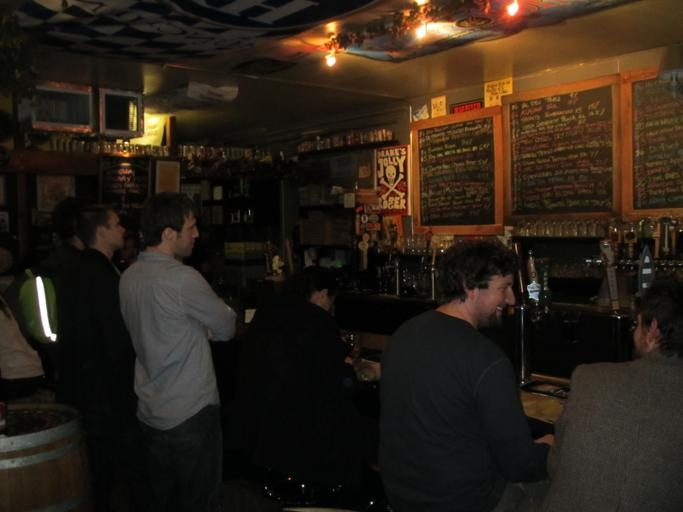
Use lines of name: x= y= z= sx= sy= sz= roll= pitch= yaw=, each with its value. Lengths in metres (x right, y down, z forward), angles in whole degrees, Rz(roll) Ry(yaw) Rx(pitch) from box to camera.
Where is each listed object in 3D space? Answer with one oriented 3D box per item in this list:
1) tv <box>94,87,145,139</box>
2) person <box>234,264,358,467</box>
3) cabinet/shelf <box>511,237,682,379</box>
tv: x=-2.458 y=-1.523 z=7.309 sx=0.596 sy=0.581 sz=0.429 roll=0 pitch=0 yaw=-44
person: x=-0.293 y=0.674 z=3.557 sx=0.693 sy=0.938 sz=0.227 roll=-1 pitch=2 yaw=22
cabinet/shelf: x=1.684 y=0.347 z=4.291 sx=0.513 sy=0.931 sz=0.969 roll=4 pitch=-7 yaw=-21
